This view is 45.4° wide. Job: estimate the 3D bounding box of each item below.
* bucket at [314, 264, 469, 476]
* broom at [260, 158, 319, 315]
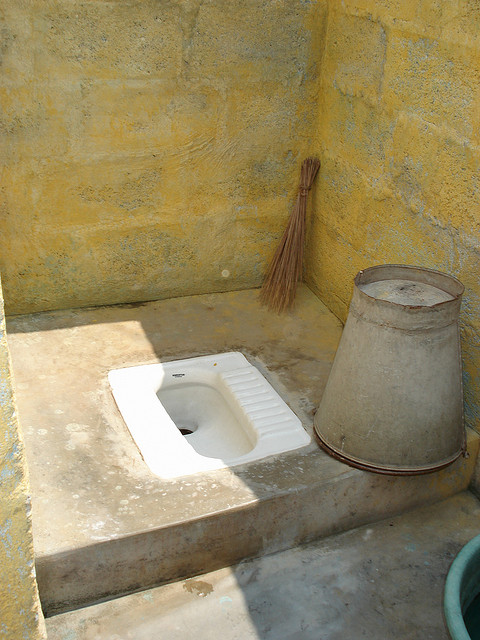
[{"bbox_3d":[0.392,0.127,1.346,0.402,0.366,0.363,-5,12,-33],"label":"bucket"},{"bbox_3d":[0.182,-0.302,2.042,0.137,0.542,0.207,11,21,1],"label":"broom"}]
